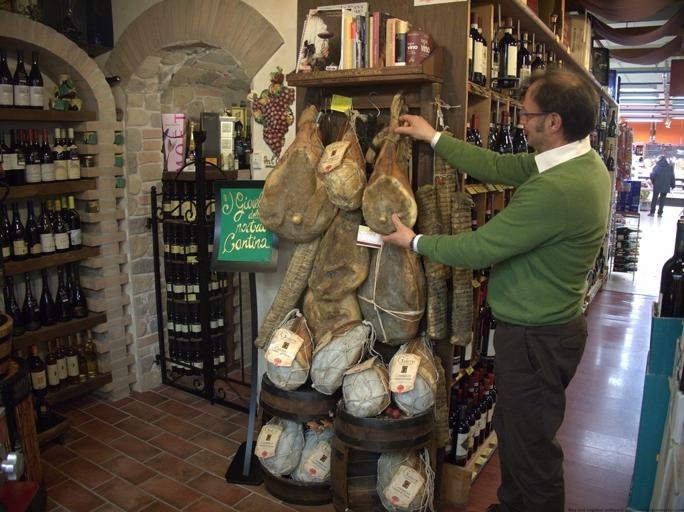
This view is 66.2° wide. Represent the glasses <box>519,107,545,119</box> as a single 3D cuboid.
[{"bbox_3d":[0.989,-0.745,2.750,0.059,0.068,0.173,-4,15,-18],"label":"glasses"}]

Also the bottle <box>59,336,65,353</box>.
[{"bbox_3d":[-2.214,0.717,4.181,0.024,0.102,0.073,2,31,-20],"label":"bottle"}]

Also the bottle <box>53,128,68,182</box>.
[{"bbox_3d":[-2.104,-0.762,3.926,0.086,0.375,0.100,-5,14,-24],"label":"bottle"}]

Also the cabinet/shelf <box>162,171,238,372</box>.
[{"bbox_3d":[-1.257,0.190,4.466,0.577,1.810,0.677,-2,13,-13],"label":"cabinet/shelf"}]

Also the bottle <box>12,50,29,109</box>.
[{"bbox_3d":[-2.265,-1.251,3.710,0.104,0.373,0.154,-6,14,-26],"label":"bottle"}]

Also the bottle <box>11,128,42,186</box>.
[{"bbox_3d":[-2.266,-0.725,3.783,0.180,0.379,0.190,1,13,0],"label":"bottle"}]

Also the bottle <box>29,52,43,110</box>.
[{"bbox_3d":[-2.216,-1.269,3.799,0.089,0.384,0.216,-7,15,-30],"label":"bottle"}]

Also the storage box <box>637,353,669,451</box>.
[{"bbox_3d":[1.734,0.822,2.914,0.123,0.588,0.061,9,15,32],"label":"storage box"}]

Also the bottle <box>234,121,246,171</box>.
[{"bbox_3d":[-0.914,-1.015,4.753,0.101,0.414,0.234,-2,13,-11],"label":"bottle"}]

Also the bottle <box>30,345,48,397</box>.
[{"bbox_3d":[-2.279,0.839,3.939,0.085,0.370,0.173,-5,14,-22],"label":"bottle"}]

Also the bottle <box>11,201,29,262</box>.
[{"bbox_3d":[-2.328,-0.187,3.784,0.099,0.397,0.148,-6,14,-26],"label":"bottle"}]

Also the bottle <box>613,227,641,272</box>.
[{"bbox_3d":[4.643,-0.086,8.596,0.354,0.753,0.332,1,13,0],"label":"bottle"}]

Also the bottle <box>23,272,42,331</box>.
[{"bbox_3d":[-2.339,0.311,3.938,0.112,0.433,0.224,-7,15,-31],"label":"bottle"}]

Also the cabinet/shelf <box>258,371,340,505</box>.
[{"bbox_3d":[-0.191,1.079,3.437,0.644,0.723,0.686,1,13,-5],"label":"cabinet/shelf"}]

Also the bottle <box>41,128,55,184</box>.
[{"bbox_3d":[-2.168,-0.741,3.875,0.094,0.364,0.137,-6,14,-27],"label":"bottle"}]
